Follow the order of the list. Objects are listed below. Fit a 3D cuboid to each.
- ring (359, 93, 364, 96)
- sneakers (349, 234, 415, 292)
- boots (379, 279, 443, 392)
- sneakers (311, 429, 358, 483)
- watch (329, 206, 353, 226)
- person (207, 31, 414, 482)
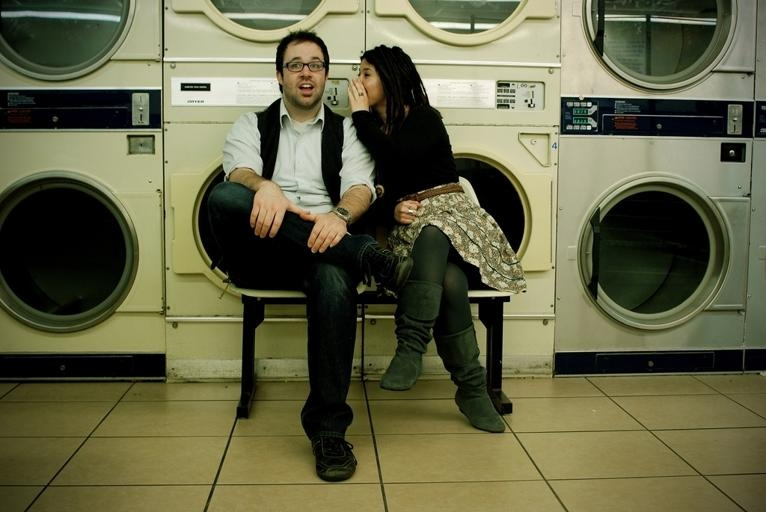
[{"bbox_3d":[-0.101,-0.779,3.241,0.015,0.018,0.005,-5,-6,-10],"label":"ring"},{"bbox_3d":[-0.017,0.035,2.915,0.157,0.128,0.338,7,16,-28],"label":"sneakers"},{"bbox_3d":[0.128,0.366,2.942,0.219,0.513,0.366,4,12,6],"label":"boots"},{"bbox_3d":[-0.197,0.825,2.818,0.188,0.164,0.165,-1,13,-16],"label":"sneakers"},{"bbox_3d":[-0.186,-0.189,3.043,0.093,0.087,0.061,31,45,1],"label":"watch"},{"bbox_3d":[-0.316,-0.098,3.083,0.996,1.837,0.704,11,15,37],"label":"person"}]
